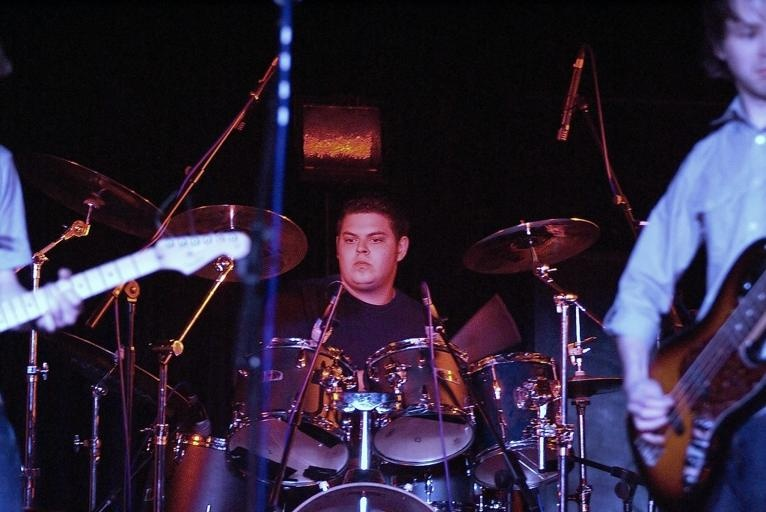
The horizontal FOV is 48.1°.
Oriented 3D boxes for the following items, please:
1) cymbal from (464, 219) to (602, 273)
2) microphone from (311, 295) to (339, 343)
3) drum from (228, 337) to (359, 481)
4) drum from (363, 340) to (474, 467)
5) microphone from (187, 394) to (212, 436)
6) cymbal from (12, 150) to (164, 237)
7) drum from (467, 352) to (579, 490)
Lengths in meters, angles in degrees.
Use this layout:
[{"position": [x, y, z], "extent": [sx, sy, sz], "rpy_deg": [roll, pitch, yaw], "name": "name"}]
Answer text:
[{"position": [1.021, -0.015, 5.947], "extent": [0.922, 0.444, 0.629], "rpy_deg": [1, -25, 4], "name": "cymbal"}, {"position": [-0.384, 0.400, 5.169], "extent": [0.115, 0.287, 0.166], "rpy_deg": [9, 15, -9], "name": "microphone"}, {"position": [-0.372, 0.877, 5.499], "extent": [0.936, 0.663, 0.885], "rpy_deg": [8, -46, 8], "name": "drum"}, {"position": [0.258, 0.938, 5.508], "extent": [0.754, 0.596, 0.696], "rpy_deg": [-1, -42, -1], "name": "drum"}, {"position": [-1.236, 1.110, 5.973], "extent": [0.109, 0.278, 0.217], "rpy_deg": [-8, -6, 19], "name": "microphone"}, {"position": [-1.874, -0.398, 5.568], "extent": [0.710, 0.158, 0.677], "rpy_deg": [26, -28, -6], "name": "cymbal"}, {"position": [0.963, 1.053, 5.749], "extent": [0.757, 0.696, 0.726], "rpy_deg": [-8, -17, 41], "name": "drum"}]
